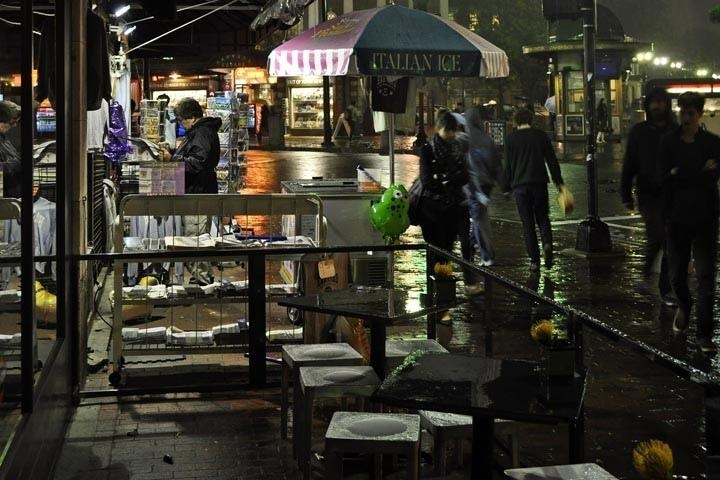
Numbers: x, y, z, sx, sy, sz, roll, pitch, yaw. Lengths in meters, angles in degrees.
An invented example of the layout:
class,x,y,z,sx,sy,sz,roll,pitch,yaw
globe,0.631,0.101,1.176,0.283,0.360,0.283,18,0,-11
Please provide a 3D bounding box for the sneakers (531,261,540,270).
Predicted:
class,x,y,z,sx,sy,sz,roll,pitch,yaw
sneakers,2.813,0.422,12.581,0.127,0.150,0.139,-1,7,0

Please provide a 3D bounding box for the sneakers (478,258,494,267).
class,x,y,z,sx,sy,sz,roll,pitch,yaw
sneakers,1.992,0.380,12.330,0.187,0.116,0.251,0,15,-5

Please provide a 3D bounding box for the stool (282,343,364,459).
class,x,y,z,sx,sy,sz,roll,pitch,yaw
stool,-0.435,1.297,6.683,0.747,0.822,0.762,-1,5,-13

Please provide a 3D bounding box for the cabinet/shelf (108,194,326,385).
class,x,y,z,sx,sy,sz,roll,pitch,yaw
cabinet/shelf,-1.536,0.573,8.417,1.851,1.682,0.660,0,-2,-10

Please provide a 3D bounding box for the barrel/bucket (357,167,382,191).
class,x,y,z,sx,sy,sz,roll,pitch,yaw
barrel/bucket,0.138,-0.807,10.561,0.323,0.280,0.493,-1,9,1

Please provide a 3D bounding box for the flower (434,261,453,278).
class,x,y,z,sx,sy,sz,roll,pitch,yaw
flower,0.742,0.267,6.998,0.126,0.094,0.127,-1,4,3

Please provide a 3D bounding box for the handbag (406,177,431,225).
class,x,y,z,sx,sy,sz,roll,pitch,yaw
handbag,0.702,-0.479,10.105,0.171,0.501,0.348,6,5,-27

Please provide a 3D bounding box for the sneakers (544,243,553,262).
class,x,y,z,sx,sy,sz,roll,pitch,yaw
sneakers,3.055,0.214,12.771,0.104,0.323,0.220,-2,3,4

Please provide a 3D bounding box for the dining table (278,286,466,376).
class,x,y,z,sx,sy,sz,roll,pitch,yaw
dining table,0.120,0.965,6.704,1.313,0.637,1.326,12,-13,15

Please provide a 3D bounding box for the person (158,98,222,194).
class,x,y,z,sx,sy,sz,roll,pitch,yaw
person,-2.284,-1.275,10.838,0.854,1.320,0.819,-4,8,-24

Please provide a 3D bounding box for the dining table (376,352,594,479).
class,x,y,z,sx,sy,sz,roll,pitch,yaw
dining table,0.847,0.963,4.953,0.933,0.932,0.962,0,6,1

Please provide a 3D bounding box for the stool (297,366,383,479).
class,x,y,z,sx,sy,sz,roll,pitch,yaw
stool,-0.248,1.367,6.267,0.758,0.830,0.773,-1,5,-10

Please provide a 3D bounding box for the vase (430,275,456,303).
class,x,y,z,sx,sy,sz,roll,pitch,yaw
vase,0.762,0.463,6.963,0.270,0.275,0.199,0,9,-2

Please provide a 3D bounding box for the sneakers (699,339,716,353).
class,x,y,z,sx,sy,sz,roll,pitch,yaw
sneakers,3.718,1.126,8.410,0.190,0.140,0.192,3,9,22
